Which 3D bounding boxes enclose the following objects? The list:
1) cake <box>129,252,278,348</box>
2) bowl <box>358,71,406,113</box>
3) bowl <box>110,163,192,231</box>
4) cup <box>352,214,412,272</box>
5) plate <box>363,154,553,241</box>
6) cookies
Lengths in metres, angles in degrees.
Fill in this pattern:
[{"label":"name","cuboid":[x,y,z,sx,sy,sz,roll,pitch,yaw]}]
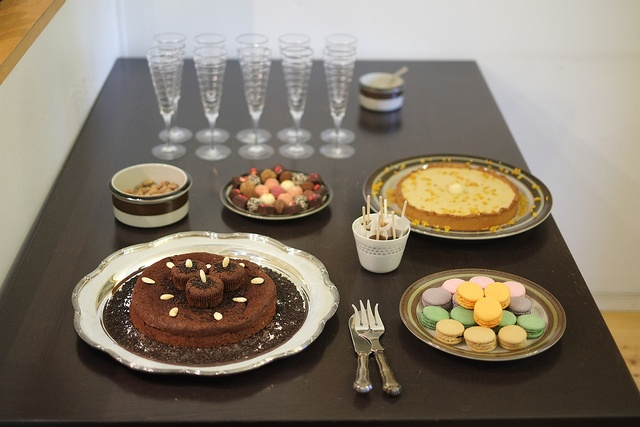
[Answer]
[{"label":"cake","cuboid":[-0.277,0.193,1.171,0.332,0.118,0.231,0,42,4]},{"label":"bowl","cuboid":[0.267,-0.521,2.148,0.192,0.117,0.191,-2,35,1]},{"label":"bowl","cuboid":[-0.491,-0.056,1.489,0.216,0.097,0.213,5,31,-3]},{"label":"cup","cuboid":[0.164,0.090,1.362,0.156,0.110,0.147,2,20,-1]},{"label":"plate","cuboid":[0.471,-0.054,1.686,0.593,0.601,0.054,-3,69,39]},{"label":"cookies","cuboid":[0.378,0.225,1.169,0.289,0.056,0.206,-3,42,0]}]
